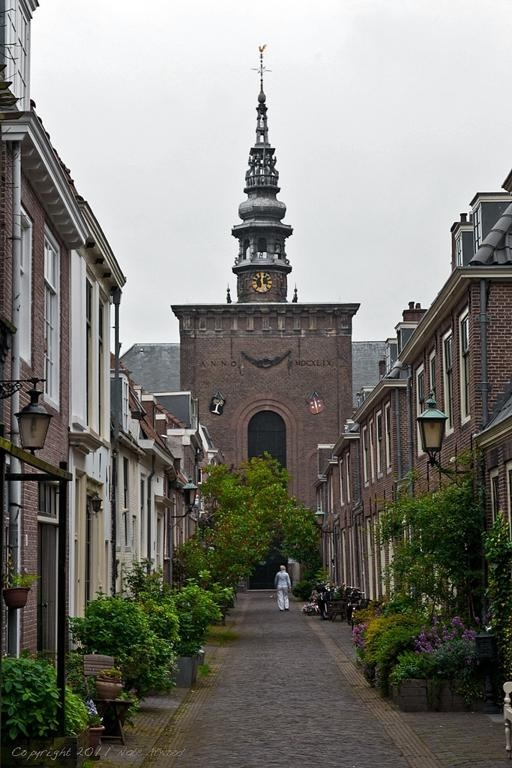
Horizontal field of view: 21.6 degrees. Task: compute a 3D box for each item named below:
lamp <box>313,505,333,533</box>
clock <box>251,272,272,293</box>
[{"bbox_3d":[2.999,5.812,57.168,1.002,1.628,1.164,1,-8,-2],"label":"lamp"},{"bbox_3d":[0.263,-5.743,76.592,1.020,1.278,0.121,-1,-10,2],"label":"clock"}]
